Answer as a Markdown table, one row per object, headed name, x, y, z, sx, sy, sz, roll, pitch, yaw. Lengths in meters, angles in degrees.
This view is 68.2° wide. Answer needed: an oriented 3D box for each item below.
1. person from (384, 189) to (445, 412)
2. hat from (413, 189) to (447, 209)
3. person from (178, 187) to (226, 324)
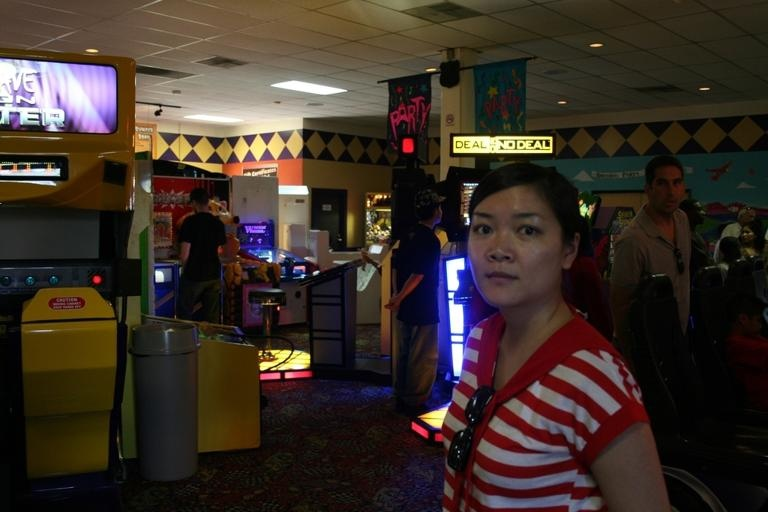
| name | x | y | z | sx | sy | sz | roll | pitch | yaw |
| --- | --- | --- | --- | --- | --- | --- | --- | --- | --- |
| person | 0.268 | 0.421 | 5.035 | 0.446 | 2.032 | 0.356 | 3 | 3 | 4 |
| hat | 0.394 | -0.509 | 4.972 | 0.196 | 0.120 | 0.153 | -19 | 12 | 4 |
| person | -2.238 | 0.001 | 6.988 | 0.516 | 1.670 | 0.630 | 3 | 4 | 2 |
